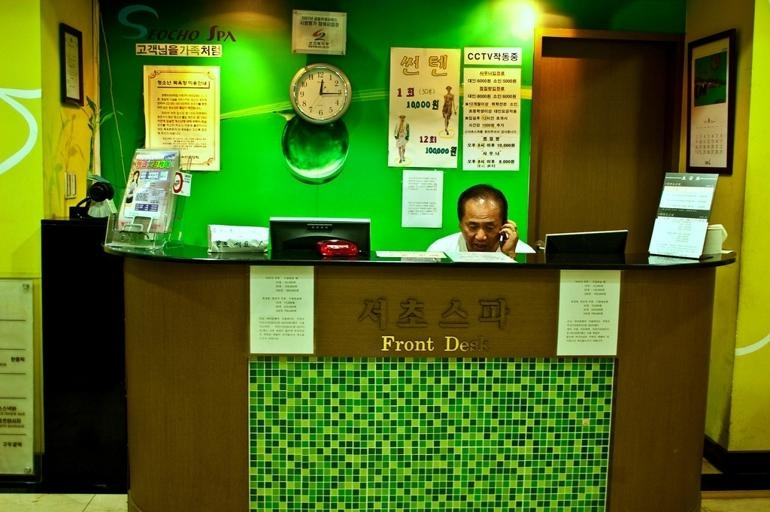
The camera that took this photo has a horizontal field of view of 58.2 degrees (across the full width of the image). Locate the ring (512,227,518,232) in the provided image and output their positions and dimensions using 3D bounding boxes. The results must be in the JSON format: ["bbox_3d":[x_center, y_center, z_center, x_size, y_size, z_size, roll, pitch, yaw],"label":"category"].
[{"bbox_3d":[0.882,-0.184,4.739,0.025,0.031,0.034,-1,-29,7],"label":"ring"}]

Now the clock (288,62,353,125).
[{"bbox_3d":[-0.526,-1.318,5.492,0.459,0.481,0.063,-2,0,-2],"label":"clock"}]

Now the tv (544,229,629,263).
[{"bbox_3d":[1.201,-0.041,4.101,0.515,0.144,0.432,-1,13,6],"label":"tv"}]

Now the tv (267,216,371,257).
[{"bbox_3d":[-0.406,-0.118,4.316,0.630,0.213,0.665,-4,13,-9],"label":"tv"}]

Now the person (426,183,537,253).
[{"bbox_3d":[0.687,-0.231,4.925,0.759,0.623,0.548,-6,26,-7],"label":"person"}]
